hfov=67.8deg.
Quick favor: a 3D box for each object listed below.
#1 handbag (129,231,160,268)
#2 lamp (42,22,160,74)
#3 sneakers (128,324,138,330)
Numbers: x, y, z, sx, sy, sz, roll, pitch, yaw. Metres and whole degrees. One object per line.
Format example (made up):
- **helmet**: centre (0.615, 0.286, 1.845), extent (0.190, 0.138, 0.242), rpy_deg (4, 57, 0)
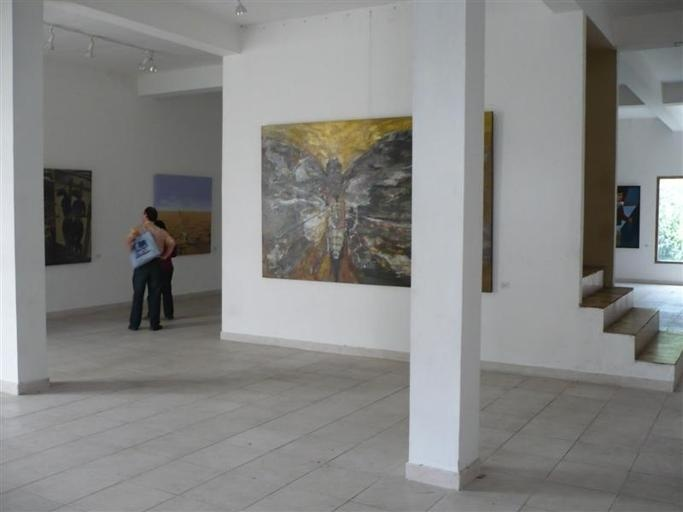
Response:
- **handbag**: centre (-3.295, -0.105, 8.598), extent (0.535, 0.563, 0.165), rpy_deg (-27, -6, 6)
- **lamp**: centre (-4.039, -3.523, 8.535), extent (2.042, 0.456, 0.330), rpy_deg (15, 26, 6)
- **sneakers**: centre (-3.529, 1.211, 8.684), extent (0.202, 0.084, 0.154), rpy_deg (0, 4, -1)
